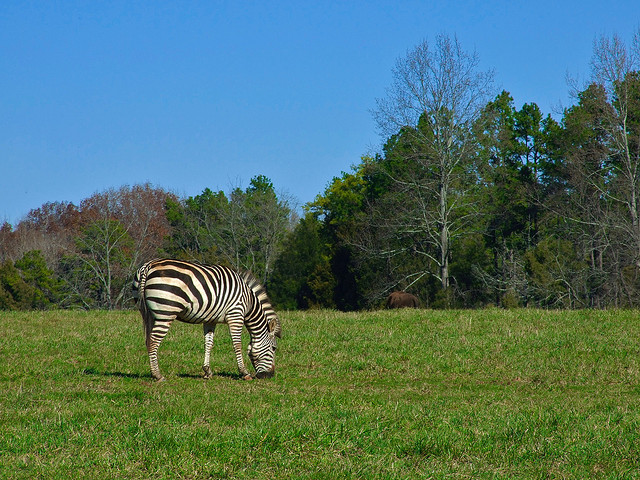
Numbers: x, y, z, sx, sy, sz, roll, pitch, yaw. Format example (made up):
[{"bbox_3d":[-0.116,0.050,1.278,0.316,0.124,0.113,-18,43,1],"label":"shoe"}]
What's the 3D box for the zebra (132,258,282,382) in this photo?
[{"bbox_3d":[-3.965,3.114,35.539,5.342,4.633,1.667,6,-2,-26],"label":"zebra"}]
